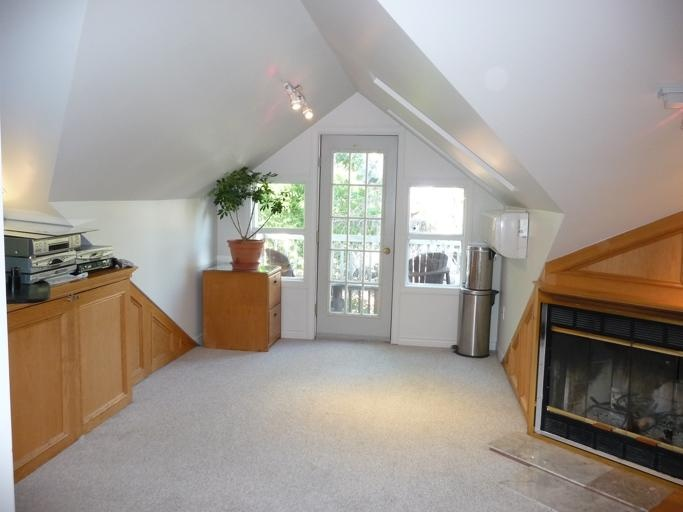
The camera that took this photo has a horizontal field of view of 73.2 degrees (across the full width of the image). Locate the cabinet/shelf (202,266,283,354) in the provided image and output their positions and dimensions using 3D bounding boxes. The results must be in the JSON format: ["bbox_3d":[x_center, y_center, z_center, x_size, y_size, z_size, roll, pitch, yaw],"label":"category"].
[{"bbox_3d":[-1.032,0.581,5.249,0.809,0.939,0.786,0,0,12],"label":"cabinet/shelf"}]

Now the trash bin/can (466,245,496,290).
[{"bbox_3d":[1.483,0.132,4.967,0.309,0.511,0.413,-2,5,-45],"label":"trash bin/can"}]

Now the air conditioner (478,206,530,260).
[{"bbox_3d":[1.501,-0.208,4.222,0.162,0.323,0.530,1,3,1],"label":"air conditioner"}]

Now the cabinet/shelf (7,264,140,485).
[{"bbox_3d":[-1.730,0.760,2.928,0.388,1.033,1.170,0,4,2],"label":"cabinet/shelf"}]

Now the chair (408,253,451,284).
[{"bbox_3d":[0.979,0.138,5.313,0.370,0.537,0.373,-1,5,0],"label":"chair"}]

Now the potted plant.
[{"bbox_3d":[-1.006,-0.447,5.141,0.803,1.096,0.721,0,9,-8],"label":"potted plant"}]
